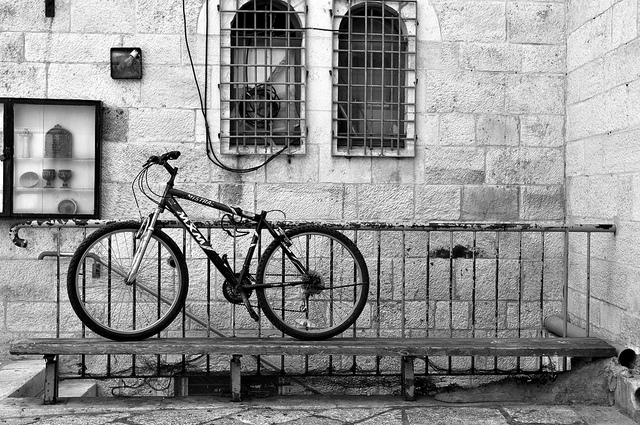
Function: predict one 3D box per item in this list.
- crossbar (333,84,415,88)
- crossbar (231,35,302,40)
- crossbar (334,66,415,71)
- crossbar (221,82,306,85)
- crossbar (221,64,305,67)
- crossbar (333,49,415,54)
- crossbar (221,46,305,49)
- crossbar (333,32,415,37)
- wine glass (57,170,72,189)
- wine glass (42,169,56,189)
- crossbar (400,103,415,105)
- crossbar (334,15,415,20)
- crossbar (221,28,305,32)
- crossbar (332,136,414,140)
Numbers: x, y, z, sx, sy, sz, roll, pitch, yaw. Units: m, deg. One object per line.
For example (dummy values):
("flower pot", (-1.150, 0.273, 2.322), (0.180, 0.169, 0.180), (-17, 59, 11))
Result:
("crossbar", (0.562, -1.338, 12.448), (0.864, 0.030, 0.023), (2, 1, 0))
("crossbar", (-0.570, -1.842, 12.384), (0.742, 0.049, 0.083), (-1, 3, -3))
("crossbar", (0.565, -1.511, 12.429), (0.845, 0.043, 0.113), (-1, 3, -2))
("crossbar", (-0.601, -1.352, 12.368), (0.885, 0.028, 0.113), (-1, 3, -1))
("crossbar", (-0.609, -1.537, 12.353), (0.870, 0.034, 0.120), (-1, 3, -4))
("crossbar", (0.563, -1.691, 12.398), (0.852, 0.052, 0.155), (0, 3, 4))
("crossbar", (-0.609, -1.729, 12.354), (0.869, 0.039, 0.141), (-1, 3, -4))
("crossbar", (0.558, -1.869, 12.406), (0.857, 0.053, 0.150), (-1, 3, -1))
("wine glass", (-2.685, -0.350, 12.439), (0.201, 0.236, 0.181), (0, 2, -20))
("wine glass", (-2.850, -0.356, 12.429), (0.201, 0.236, 0.172), (-1, 5, -17))
("crossbar", (0.918, -1.145, 12.438), (0.159, 0.017, 0.035), (1, 3, 25))
("crossbar", (0.571, -2.056, 12.375), (0.943, 0.050, 0.022), (2, 27, 0))
("crossbar", (-0.606, -1.908, 12.315), (0.870, 0.046, 0.110), (-1, 3, -2))
("crossbar", (0.557, -0.782, 12.422), (0.853, 0.040, 0.148), (0, 3, 4))
